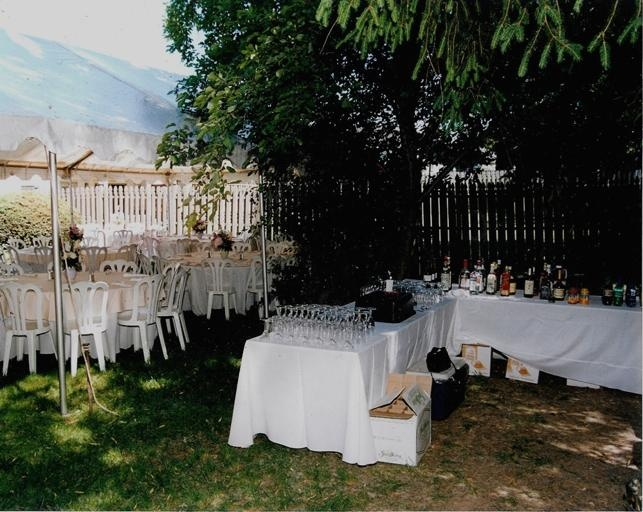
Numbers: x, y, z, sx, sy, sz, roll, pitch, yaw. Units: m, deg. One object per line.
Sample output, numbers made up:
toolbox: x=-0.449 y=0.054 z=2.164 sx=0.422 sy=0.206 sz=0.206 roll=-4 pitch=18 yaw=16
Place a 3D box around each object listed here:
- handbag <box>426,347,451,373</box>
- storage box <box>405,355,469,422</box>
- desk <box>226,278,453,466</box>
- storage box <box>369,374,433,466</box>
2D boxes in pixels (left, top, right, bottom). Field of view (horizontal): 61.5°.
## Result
handbag: x=1.262 y=1.138 z=5.961 sx=0.193 sy=0.304 sz=0.096 roll=3 pitch=3 yaw=-12
storage box: x=1.339 y=1.261 z=5.958 sx=0.484 sy=0.498 sz=0.833 roll=0 pitch=4 yaw=25
desk: x=0.416 y=1.038 z=5.760 sx=1.083 sy=0.673 sz=2.173 roll=4 pitch=10 yaw=21
storage box: x=0.807 y=1.577 z=5.245 sx=0.506 sy=0.833 sz=0.747 roll=0 pitch=0 yaw=22
